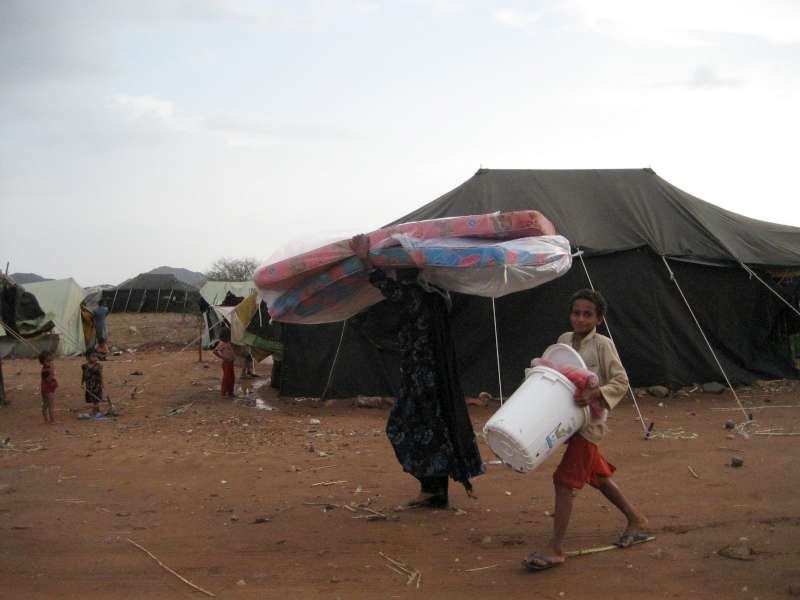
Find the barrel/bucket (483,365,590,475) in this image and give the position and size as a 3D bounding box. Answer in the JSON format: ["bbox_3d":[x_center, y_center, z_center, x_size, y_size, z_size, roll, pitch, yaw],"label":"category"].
[{"bbox_3d":[0.937,0.827,4.852,0.665,0.710,0.275,-6,7,-19],"label":"barrel/bucket"}]

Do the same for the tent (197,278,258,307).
[{"bbox_3d":[-5.998,-0.333,23.491,2.374,0.551,1.517,-1,-1,9],"label":"tent"}]

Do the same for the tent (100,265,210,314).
[{"bbox_3d":[-14.084,-0.188,39.253,4.709,1.923,2.120,-5,6,-23],"label":"tent"}]

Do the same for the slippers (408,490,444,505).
[{"bbox_3d":[0.261,1.790,6.256,0.388,0.153,0.110,2,-4,1],"label":"slippers"}]

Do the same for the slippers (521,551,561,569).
[{"bbox_3d":[0.991,1.840,4.881,0.242,0.051,0.124,3,-7,-24],"label":"slippers"}]

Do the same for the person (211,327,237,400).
[{"bbox_3d":[-3.165,1.107,12.467,0.329,1.219,1.207,-7,6,-14],"label":"person"}]

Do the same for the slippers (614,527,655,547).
[{"bbox_3d":[1.761,1.775,5.186,0.256,0.054,0.158,-3,-1,-13],"label":"slippers"}]

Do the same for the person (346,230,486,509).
[{"bbox_3d":[0.182,0.632,6.180,0.953,2.467,0.663,-5,7,1],"label":"person"}]
